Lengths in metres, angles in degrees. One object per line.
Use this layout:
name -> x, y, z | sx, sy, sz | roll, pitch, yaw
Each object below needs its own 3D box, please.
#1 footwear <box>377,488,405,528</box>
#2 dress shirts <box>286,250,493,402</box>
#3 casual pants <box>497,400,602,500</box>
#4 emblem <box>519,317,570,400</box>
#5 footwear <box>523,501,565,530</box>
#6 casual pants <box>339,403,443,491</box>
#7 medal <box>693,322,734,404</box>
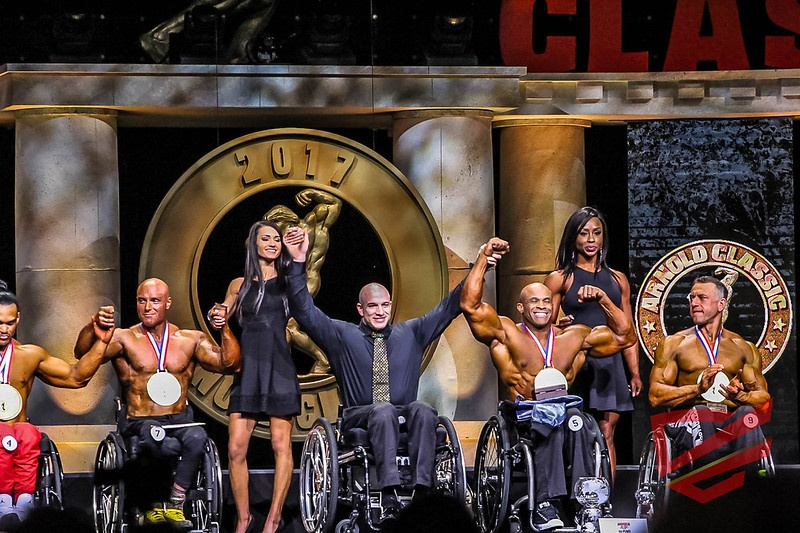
footwear -> -0.064, 1.853, 13.389 | 0.199, 0.274, 0.329 | -2, -13, -1
dress shirts -> -0.145, 0.491, 14.707 | 1.593, 0.928, 0.340 | -2, -4, 0
casual pants -> 1.209, 1.443, 13.663 | 0.806, 0.819, 0.368 | -3, -14, 3
emblem -> 1.157, 0.758, 13.924 | 0.331, 0.690, 0.348 | -2, -14, -2
footwear -> 1.137, 1.938, 13.467 | 0.237, 0.239, 0.262 | 0, -13, -7
casual pants -> -0.057, 1.396, 13.539 | 0.724, 0.681, 0.350 | -2, -14, 0
medal -> 2.564, 0.792, 14.203 | 0.248, 0.654, 0.298 | -4, -14, 8
